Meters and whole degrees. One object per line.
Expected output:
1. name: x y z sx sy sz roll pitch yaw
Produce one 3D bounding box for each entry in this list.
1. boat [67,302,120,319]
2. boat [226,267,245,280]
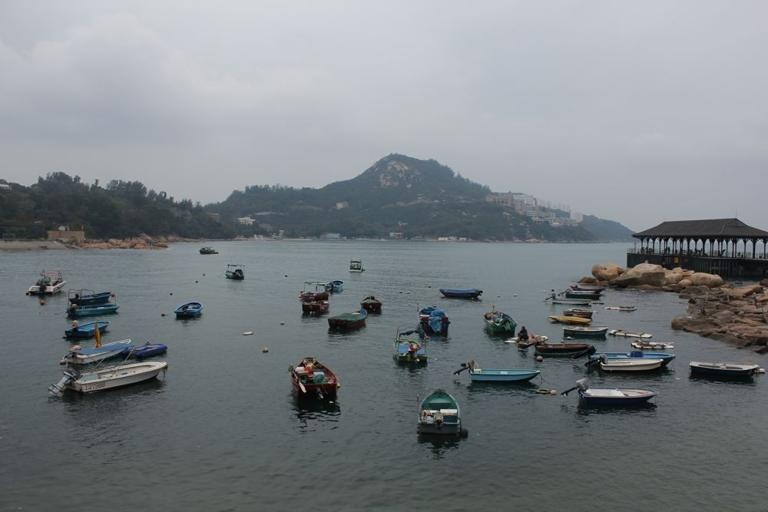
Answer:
1. boat: -44.379 8.121 120.413 7.252 1.668 4.876 -7 11 -39
2. boat: -33.696 4.084 179.873 2.447 2.761 9.926 3 4 -21
